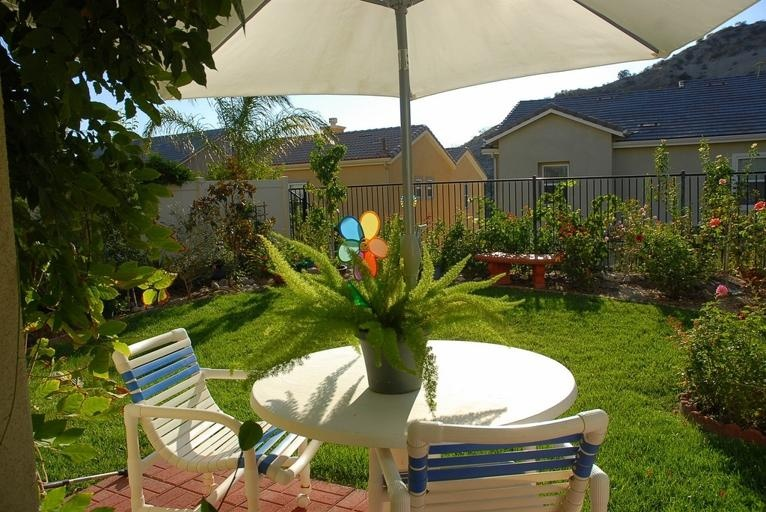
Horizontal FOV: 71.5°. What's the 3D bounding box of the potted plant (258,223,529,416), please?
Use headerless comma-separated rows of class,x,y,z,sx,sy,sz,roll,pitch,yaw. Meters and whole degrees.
potted plant,-0.007,0.274,2.511,1.085,0.803,0.607,0,10,10
